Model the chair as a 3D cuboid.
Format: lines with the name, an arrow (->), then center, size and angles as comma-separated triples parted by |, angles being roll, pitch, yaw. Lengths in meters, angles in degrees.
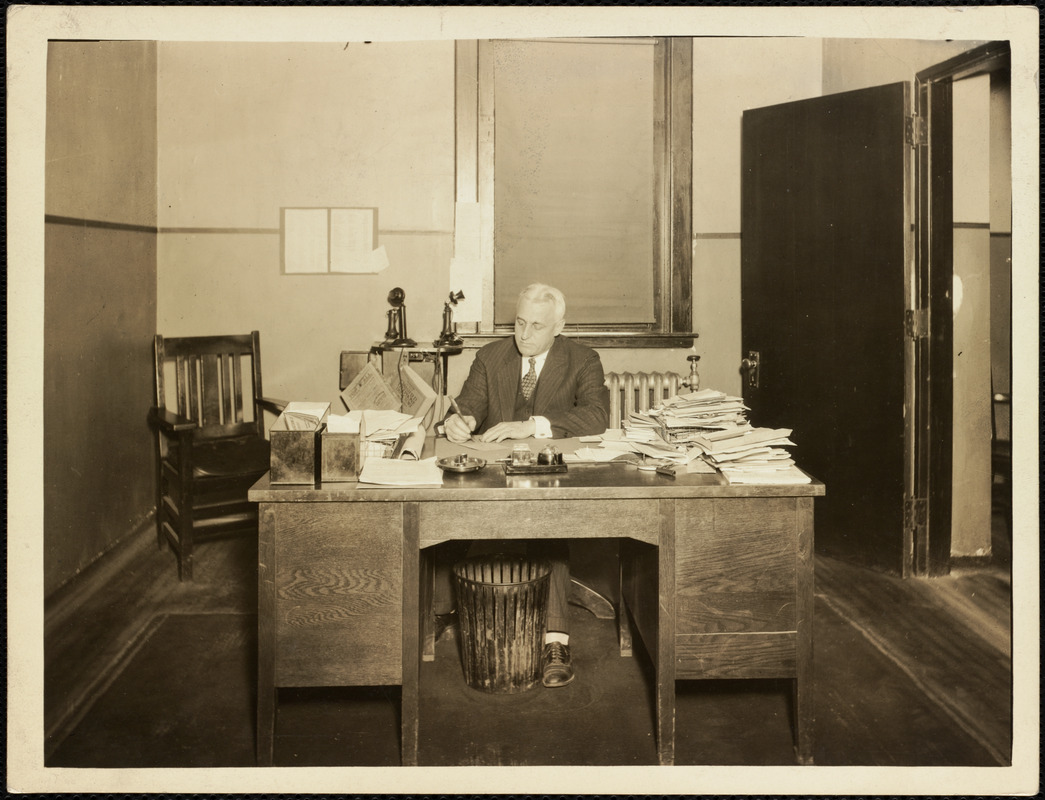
chair -> -1.571, 0.261, 5.435 | 0.808, 1.137, 0.835 | 3, 11, 5

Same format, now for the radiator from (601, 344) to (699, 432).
radiator -> 0.682, -0.069, 5.772 | 0.620, 0.699, 0.408 | 0, 3, 4

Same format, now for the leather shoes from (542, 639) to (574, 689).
leather shoes -> 0.130, 1.033, 4.045 | 0.140, 0.142, 0.326 | 0, -12, 1

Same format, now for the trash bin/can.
trash bin/can -> -0.080, 0.860, 4.014 | 0.404, 0.509, 0.457 | 0, -2, -1

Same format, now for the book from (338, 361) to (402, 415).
book -> -0.597, -0.045, 4.018 | 0.214, 0.172, 0.466 | -4, 7, -11
